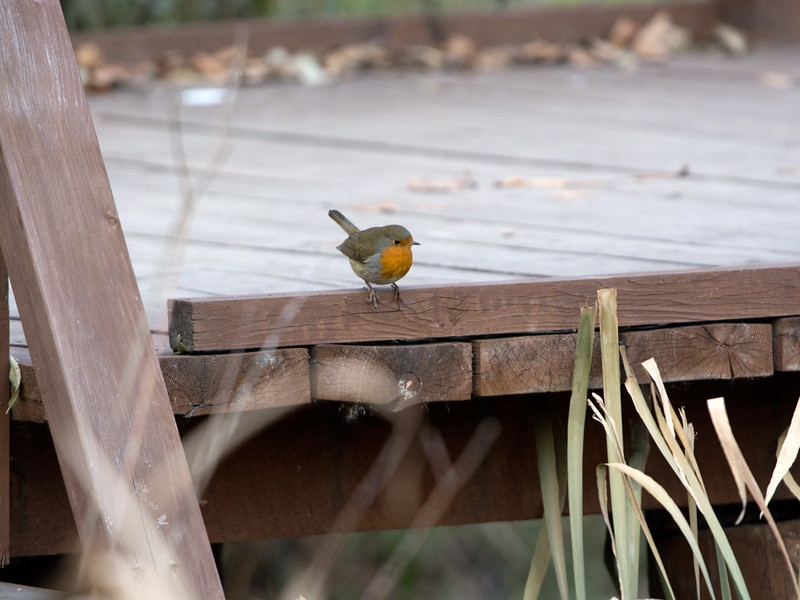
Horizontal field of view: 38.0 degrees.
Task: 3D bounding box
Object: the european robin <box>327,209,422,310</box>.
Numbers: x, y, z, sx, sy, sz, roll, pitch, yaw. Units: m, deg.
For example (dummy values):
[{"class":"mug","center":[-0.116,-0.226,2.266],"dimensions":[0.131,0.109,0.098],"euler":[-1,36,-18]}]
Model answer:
[{"class":"european robin","center":[-0.127,-0.193,4.591],"dimensions":[0.201,0.338,0.574],"euler":[-13,30,-34]}]
